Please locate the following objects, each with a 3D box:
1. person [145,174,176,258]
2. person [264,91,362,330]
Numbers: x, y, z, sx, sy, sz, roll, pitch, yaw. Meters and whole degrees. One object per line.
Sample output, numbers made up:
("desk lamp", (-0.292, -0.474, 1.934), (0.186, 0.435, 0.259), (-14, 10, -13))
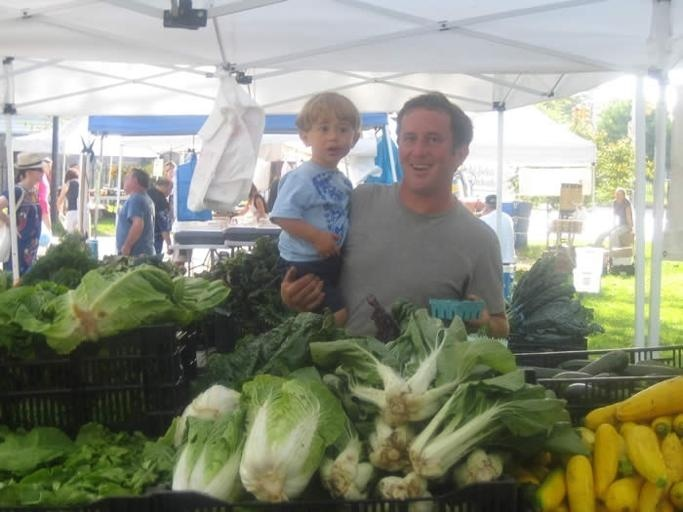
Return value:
("person", (-2.949, -0.644, 10.684), (0.515, 1.811, 0.563), (3, 6, 24))
("person", (-0.128, -0.346, 3.905), (0.444, 1.486, 0.494), (-2, 14, -26))
